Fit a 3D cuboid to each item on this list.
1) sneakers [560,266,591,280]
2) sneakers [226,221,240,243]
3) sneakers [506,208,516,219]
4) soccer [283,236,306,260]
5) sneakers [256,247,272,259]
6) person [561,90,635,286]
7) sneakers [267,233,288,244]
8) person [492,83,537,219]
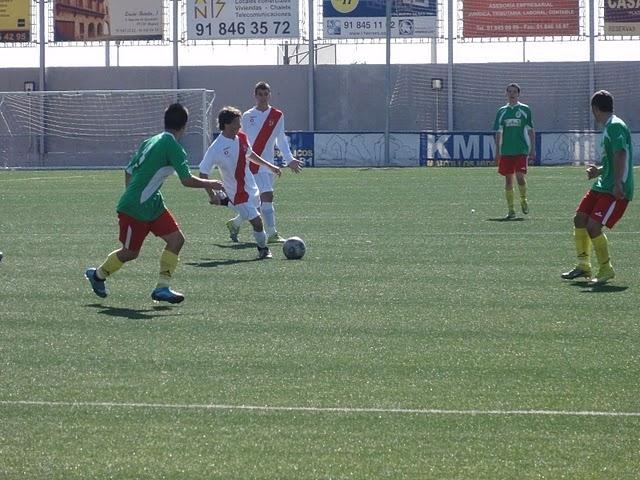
[{"bbox_3d":[4.161,0.578,23.164,0.521,0.242,0.187,2,2,6],"label":"sneakers"},{"bbox_3d":[-1.558,-0.121,25.641,0.251,0.472,0.164,-4,17,10],"label":"sneakers"},{"bbox_3d":[3.690,-0.480,27.541,0.177,0.294,0.233,1,6,14],"label":"sneakers"},{"bbox_3d":[-0.451,0.144,24.437,0.363,0.405,0.362,-8,14,-1],"label":"soccer"},{"bbox_3d":[-0.943,0.273,24.432,0.303,0.282,0.137,-1,4,4],"label":"sneakers"},{"bbox_3d":[4.566,-0.843,23.206,0.975,3.070,0.883,0,6,9],"label":"person"},{"bbox_3d":[-0.774,0.003,25.429,0.382,0.157,0.136,-1,14,-10],"label":"sneakers"},{"bbox_3d":[3.803,-1.726,27.999,0.748,2.566,1.132,0,6,6],"label":"person"}]
